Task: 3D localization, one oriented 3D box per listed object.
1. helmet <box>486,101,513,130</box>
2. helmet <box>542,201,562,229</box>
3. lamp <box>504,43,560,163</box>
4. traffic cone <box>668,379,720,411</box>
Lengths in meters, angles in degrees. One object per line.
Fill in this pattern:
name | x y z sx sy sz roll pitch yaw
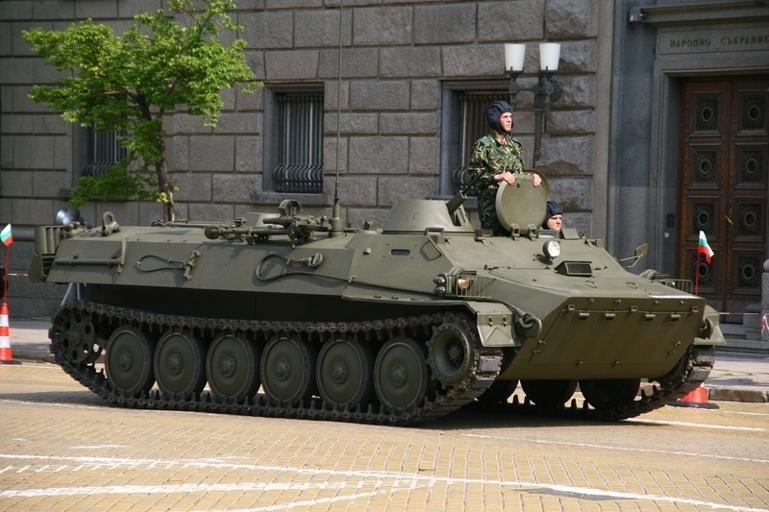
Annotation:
helmet | 1.838 -2.237 20.625 0.393 0.568 0.415 1 5 32
helmet | 2.748 -0.617 20.846 0.313 0.428 0.420 1 -5 -25
lamp | 3.117 -2.858 26.487 1.167 2.775 0.857 2 4 23
traffic cone | 5.292 2.420 21.834 0.599 0.675 0.583 3 -3 -10
